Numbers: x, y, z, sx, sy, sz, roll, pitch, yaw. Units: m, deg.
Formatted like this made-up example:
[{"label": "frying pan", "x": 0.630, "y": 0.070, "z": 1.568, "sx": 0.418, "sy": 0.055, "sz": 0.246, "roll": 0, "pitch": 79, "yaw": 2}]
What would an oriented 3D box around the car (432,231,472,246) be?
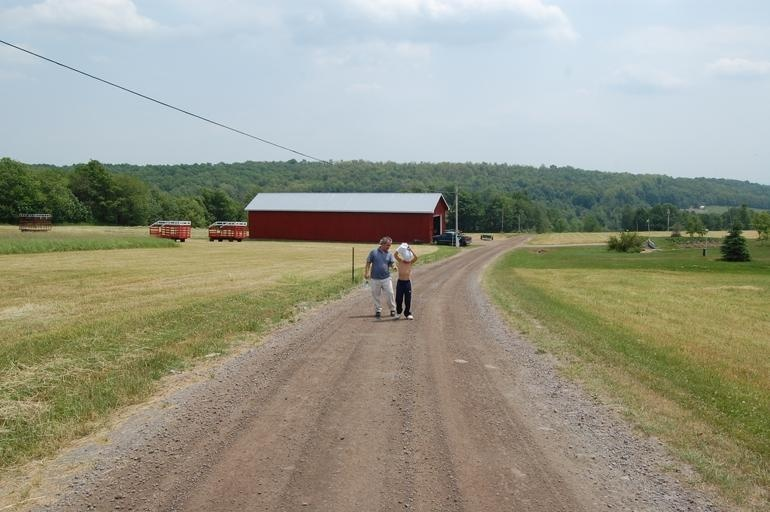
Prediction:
[{"label": "car", "x": 6.455, "y": -1.783, "z": 69.563, "sx": 2.810, "sy": 1.127, "sz": 1.933, "roll": 3, "pitch": 4, "yaw": 19}]
